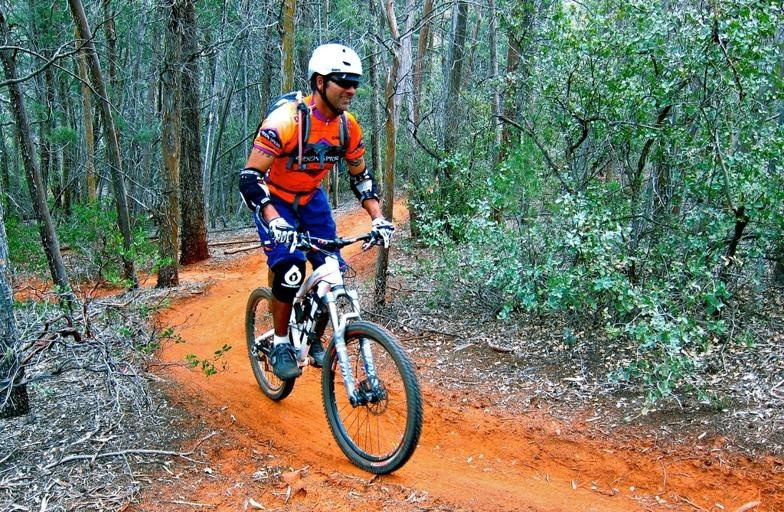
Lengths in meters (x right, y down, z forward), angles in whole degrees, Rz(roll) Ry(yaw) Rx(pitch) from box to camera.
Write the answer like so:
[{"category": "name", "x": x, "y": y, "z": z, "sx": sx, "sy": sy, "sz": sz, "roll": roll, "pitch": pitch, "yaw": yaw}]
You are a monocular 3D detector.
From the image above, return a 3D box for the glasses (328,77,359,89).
[{"category": "glasses", "x": -0.599, "y": -2.073, "z": 7.641, "sx": 0.372, "sy": 0.168, "sz": 0.138, "roll": -3, "pitch": 13, "yaw": -12}]

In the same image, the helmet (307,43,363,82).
[{"category": "helmet", "x": -0.664, "y": -2.365, "z": 7.796, "sx": 0.533, "sy": 0.524, "sz": 0.422, "roll": 17, "pitch": 18, "yaw": 22}]

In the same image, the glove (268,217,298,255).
[{"category": "glove", "x": -1.298, "y": -0.253, "z": 7.442, "sx": 0.122, "sy": 0.423, "sz": 0.302, "roll": -31, "pitch": -8, "yaw": 22}]
